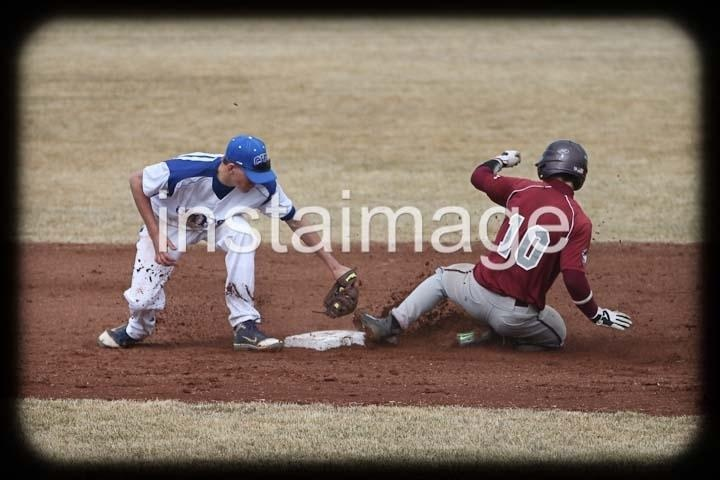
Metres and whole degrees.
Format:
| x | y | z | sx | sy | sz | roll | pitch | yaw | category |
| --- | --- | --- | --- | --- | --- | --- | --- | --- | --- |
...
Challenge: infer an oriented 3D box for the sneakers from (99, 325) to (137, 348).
| x | y | z | sx | sy | sz | roll | pitch | yaw | category |
| --- | --- | --- | --- | --- | --- | --- | --- | --- | --- |
| -3.776 | 1.491 | 20.301 | 0.288 | 0.275 | 0.638 | 25 | 12 | 29 | sneakers |

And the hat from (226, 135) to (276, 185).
| x | y | z | sx | sy | sz | roll | pitch | yaw | category |
| --- | --- | --- | --- | --- | --- | --- | --- | --- | --- |
| -1.659 | -1.235 | 20.005 | 0.848 | 0.463 | 0.570 | 36 | 31 | 7 | hat |

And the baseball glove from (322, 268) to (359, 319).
| x | y | z | sx | sy | sz | roll | pitch | yaw | category |
| --- | --- | --- | --- | --- | --- | --- | --- | --- | --- |
| -0.235 | 0.840 | 20.322 | 0.541 | 0.354 | 0.714 | -9 | 58 | 22 | baseball glove |
